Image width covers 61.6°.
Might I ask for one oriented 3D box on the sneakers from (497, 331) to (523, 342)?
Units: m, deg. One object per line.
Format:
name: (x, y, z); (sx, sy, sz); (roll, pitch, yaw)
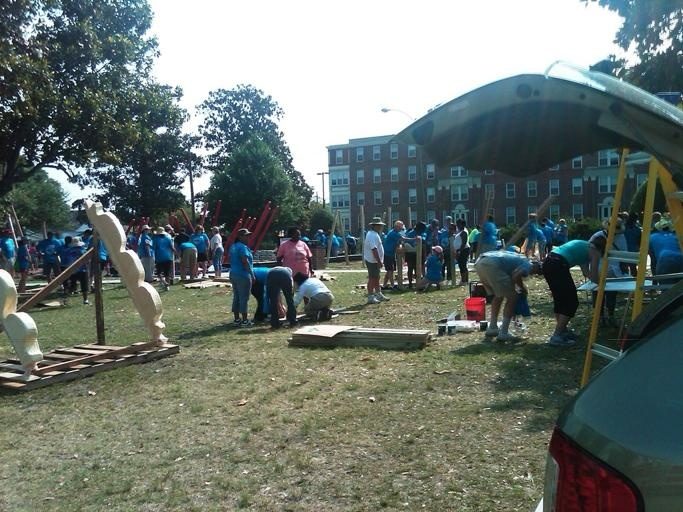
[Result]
sneakers: (2.697, 1.283, 9.130); (0.436, 0.204, 0.152); (-1, 3, -13)

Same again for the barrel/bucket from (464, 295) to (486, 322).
barrel/bucket: (2.557, 1.027, 10.950); (0.384, 0.401, 0.402); (-1, 1, 0)

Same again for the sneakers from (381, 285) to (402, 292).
sneakers: (1.512, 1.011, 17.390); (0.580, 0.250, 0.206); (-1, 2, 16)

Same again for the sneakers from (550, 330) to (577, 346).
sneakers: (3.352, 1.278, 8.677); (0.487, 0.222, 0.167); (-7, 8, -16)

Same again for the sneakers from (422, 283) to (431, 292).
sneakers: (2.461, 0.937, 16.637); (0.168, 0.274, 0.139); (31, 9, 15)

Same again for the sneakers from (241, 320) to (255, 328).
sneakers: (-1.941, 1.410, 11.694); (0.296, 0.137, 0.109); (-1, 5, -21)

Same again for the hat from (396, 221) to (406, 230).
hat: (1.741, -0.939, 17.354); (0.249, 0.308, 0.311); (2, -5, -31)

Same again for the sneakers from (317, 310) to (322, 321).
sneakers: (-0.462, 1.247, 11.735); (0.064, 0.200, 0.077); (5, -3, -33)
